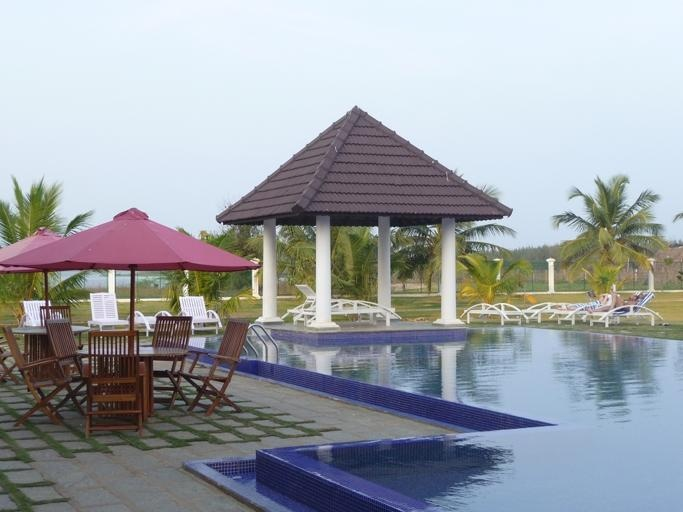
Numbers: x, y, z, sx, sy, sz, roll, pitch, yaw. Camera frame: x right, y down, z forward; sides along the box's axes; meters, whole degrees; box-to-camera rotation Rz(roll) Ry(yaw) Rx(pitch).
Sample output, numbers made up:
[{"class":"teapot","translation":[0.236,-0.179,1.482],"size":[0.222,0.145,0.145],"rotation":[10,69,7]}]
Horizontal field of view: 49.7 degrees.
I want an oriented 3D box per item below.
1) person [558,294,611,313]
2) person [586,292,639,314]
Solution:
[{"class":"person","translation":[7.839,1.645,23.612],"size":[1.545,0.575,0.849],"rotation":[0,-1,-13]},{"class":"person","translation":[8.721,1.500,23.342],"size":[1.201,0.410,0.829],"rotation":[-5,0,-25]}]
